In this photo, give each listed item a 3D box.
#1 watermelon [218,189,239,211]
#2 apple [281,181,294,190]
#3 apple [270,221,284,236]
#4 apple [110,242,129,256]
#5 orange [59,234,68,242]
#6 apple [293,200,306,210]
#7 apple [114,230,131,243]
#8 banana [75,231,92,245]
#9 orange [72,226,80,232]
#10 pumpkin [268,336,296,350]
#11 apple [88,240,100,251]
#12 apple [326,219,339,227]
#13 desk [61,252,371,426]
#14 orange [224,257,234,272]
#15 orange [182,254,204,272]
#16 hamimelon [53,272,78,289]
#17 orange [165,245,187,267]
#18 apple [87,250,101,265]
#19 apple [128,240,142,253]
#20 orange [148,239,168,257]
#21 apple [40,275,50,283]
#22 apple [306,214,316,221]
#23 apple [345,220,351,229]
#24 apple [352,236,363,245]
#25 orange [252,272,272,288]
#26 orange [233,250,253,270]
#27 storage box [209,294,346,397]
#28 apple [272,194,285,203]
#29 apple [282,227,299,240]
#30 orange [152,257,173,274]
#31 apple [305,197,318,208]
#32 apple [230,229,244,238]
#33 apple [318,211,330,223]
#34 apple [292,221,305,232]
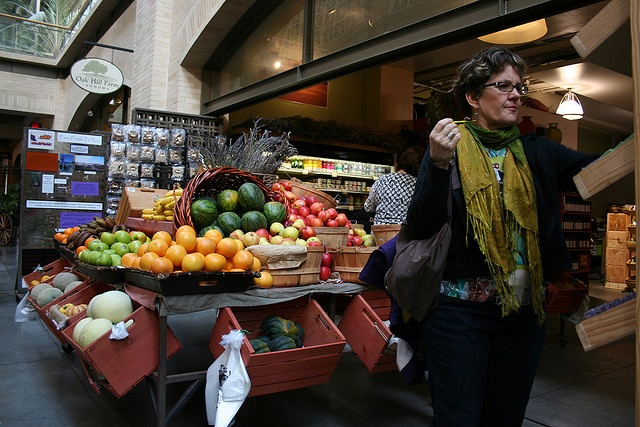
[{"bbox_3d":[-0.741,-0.091,3.319,0.148,0.184,0.119,7,5,36],"label":"watermelon"},{"bbox_3d":[-0.318,-0.266,4.051,0.079,0.096,0.084,-20,7,15],"label":"apple"},{"bbox_3d":[-0.337,0.128,3.317,0.102,0.101,0.100,0,16,-44],"label":"apple"},{"bbox_3d":[-1.584,0.277,3.272,0.097,0.061,0.123,21,2,-15],"label":"apple"},{"bbox_3d":[-2.966,0.295,4.760,0.094,0.087,0.095,-1,-5,-5],"label":"orange"},{"bbox_3d":[-0.185,-0.079,3.772,0.094,0.072,0.069,-21,34,-26],"label":"apple"},{"bbox_3d":[-1.635,0.204,3.444,0.141,0.106,0.107,22,-16,-19],"label":"apple"},{"bbox_3d":[-2.347,0.249,4.099,0.140,0.047,0.138,37,44,25],"label":"banana"},{"bbox_3d":[-2.923,0.196,4.932,0.058,0.058,0.059,11,4,42],"label":"orange"},{"bbox_3d":[-0.250,0.883,2.830,0.099,0.083,0.111,5,-3,19],"label":"pumpkin"},{"bbox_3d":[-1.849,0.269,3.356,0.076,0.041,0.095,7,10,-7],"label":"apple"},{"bbox_3d":[0.108,0.103,3.634,0.069,0.068,0.071,-23,-27,7],"label":"apple"},{"bbox_3d":[-0.547,0.775,2.954,1.391,0.670,1.216,12,-14,-40],"label":"desk"},{"bbox_3d":[-0.620,0.358,2.800,0.067,0.081,0.068,1,4,3],"label":"orange"},{"bbox_3d":[-0.807,0.321,2.626,0.138,0.109,0.071,2,4,-23],"label":"orange"},{"bbox_3d":[-2.585,0.683,4.214,0.161,0.108,0.195,5,17,20],"label":"hamimelon"},{"bbox_3d":[-0.916,0.262,2.661,0.127,0.148,0.130,5,7,19],"label":"orange"},{"bbox_3d":[-1.724,0.344,3.166,0.093,0.103,0.125,-20,-3,-11],"label":"apple"},{"bbox_3d":[-1.453,0.266,3.238,0.101,0.092,0.100,-13,-7,5],"label":"apple"},{"bbox_3d":[-1.074,0.233,2.737,0.111,0.110,0.127,-16,-26,9],"label":"orange"},{"bbox_3d":[-3.099,0.749,4.638,0.081,0.065,0.092,-3,-4,-3],"label":"apple"},{"bbox_3d":[-0.077,0.045,3.655,0.044,0.048,0.047,-26,3,-24],"label":"apple"},{"bbox_3d":[0.269,0.111,3.846,0.061,0.077,0.065,2,-3,7],"label":"apple"},{"bbox_3d":[0.341,0.250,3.712,0.065,0.065,0.077,20,9,-9],"label":"apple"},{"bbox_3d":[-0.392,0.473,2.878,0.114,0.114,0.116,3,27,10],"label":"orange"},{"bbox_3d":[-0.522,0.325,2.845,0.125,0.125,0.127,7,36,3],"label":"orange"},{"bbox_3d":[-0.281,0.876,2.858,0.711,0.451,0.696,2,5,-28],"label":"storage box"},{"bbox_3d":[-0.348,-0.121,3.478,0.066,0.049,0.089,19,-9,16],"label":"apple"},{"bbox_3d":[-0.224,0.157,3.203,0.093,0.098,0.113,-9,-47,39],"label":"apple"},{"bbox_3d":[-0.981,0.334,2.585,0.115,0.099,0.099,17,40,-30],"label":"orange"},{"bbox_3d":[-0.079,-0.092,3.861,0.088,0.106,0.087,0,5,-21],"label":"apple"},{"bbox_3d":[-0.615,0.157,3.058,0.065,0.068,0.066,-30,41,-10],"label":"apple"},{"bbox_3d":[0.046,0.037,3.681,0.094,0.092,0.097,14,2,13],"label":"apple"},{"bbox_3d":[-0.172,0.109,3.314,0.069,0.084,0.075,-1,5,11],"label":"apple"}]
